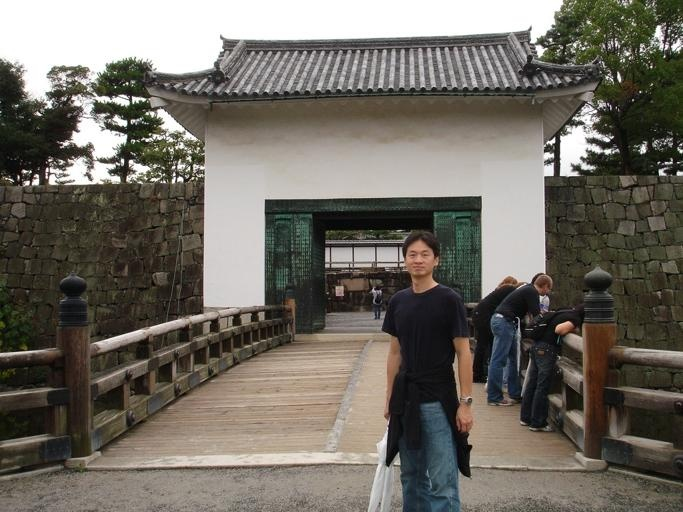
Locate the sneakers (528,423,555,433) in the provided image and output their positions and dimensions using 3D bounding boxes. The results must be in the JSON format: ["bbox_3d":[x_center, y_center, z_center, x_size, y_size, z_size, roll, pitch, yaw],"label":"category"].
[{"bbox_3d":[2.340,2.025,6.826,0.270,0.078,0.111,-1,-2,18],"label":"sneakers"}]

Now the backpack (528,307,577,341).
[{"bbox_3d":[2.477,0.791,6.722,0.426,0.163,0.375,-22,18,-12],"label":"backpack"}]

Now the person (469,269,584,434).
[{"bbox_3d":[2.358,1.157,7.263,0.594,1.820,1.501,0,-2,-13],"label":"person"}]

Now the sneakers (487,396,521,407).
[{"bbox_3d":[2.188,1.970,7.802,0.425,0.158,0.177,-4,-1,-6],"label":"sneakers"}]
